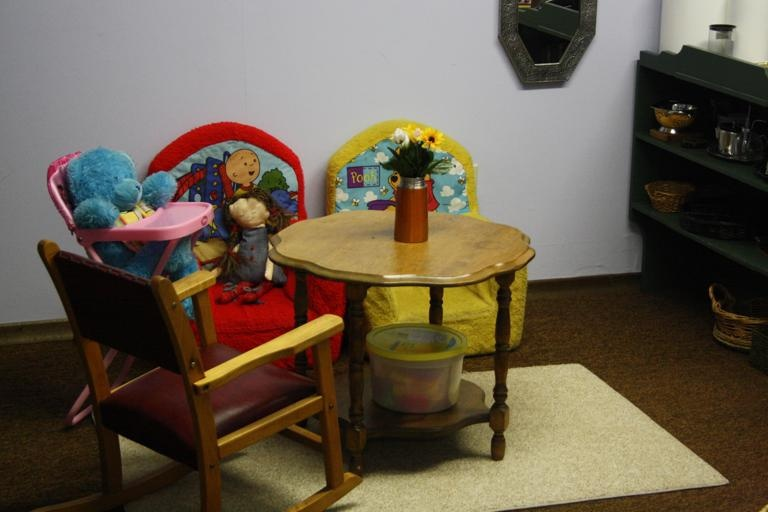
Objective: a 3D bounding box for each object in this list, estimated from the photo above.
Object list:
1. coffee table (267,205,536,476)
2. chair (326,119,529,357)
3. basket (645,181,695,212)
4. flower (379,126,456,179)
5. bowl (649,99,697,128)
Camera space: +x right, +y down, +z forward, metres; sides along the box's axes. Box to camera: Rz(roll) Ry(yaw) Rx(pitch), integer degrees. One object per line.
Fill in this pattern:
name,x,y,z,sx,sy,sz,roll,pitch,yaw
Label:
coffee table,0.057,0.582,3.377,1.492,1.157,1.520,3,-4,-32
chair,0.203,-0.173,3.687,1.292,1.355,1.294,2,8,6
basket,2.006,-0.432,4.336,0.254,0.113,0.250,-1,16,-2
flower,0.157,-0.478,3.000,0.366,0.261,0.309,-4,13,-13
bowl,1.991,-0.973,4.225,0.273,0.186,0.130,6,23,23
